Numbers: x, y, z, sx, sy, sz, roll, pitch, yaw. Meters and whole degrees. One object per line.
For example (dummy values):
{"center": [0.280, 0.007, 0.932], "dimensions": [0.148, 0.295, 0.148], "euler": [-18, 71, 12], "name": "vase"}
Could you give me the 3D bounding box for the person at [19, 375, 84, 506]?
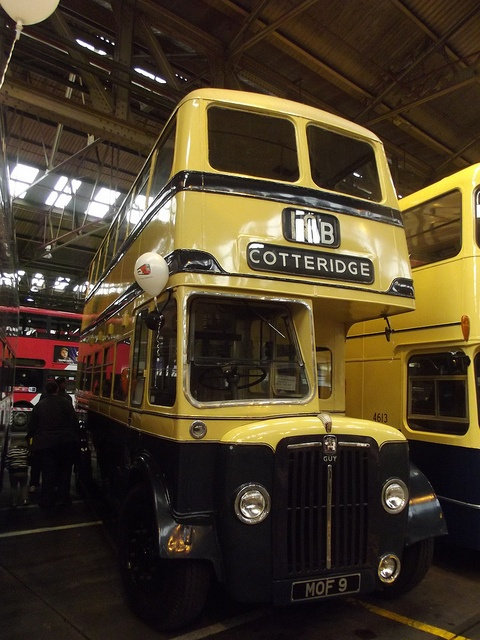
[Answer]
{"center": [-2.693, 1.769, 6.242], "dimensions": [0.726, 1.799, 0.623], "euler": [12, -16, -43], "name": "person"}
